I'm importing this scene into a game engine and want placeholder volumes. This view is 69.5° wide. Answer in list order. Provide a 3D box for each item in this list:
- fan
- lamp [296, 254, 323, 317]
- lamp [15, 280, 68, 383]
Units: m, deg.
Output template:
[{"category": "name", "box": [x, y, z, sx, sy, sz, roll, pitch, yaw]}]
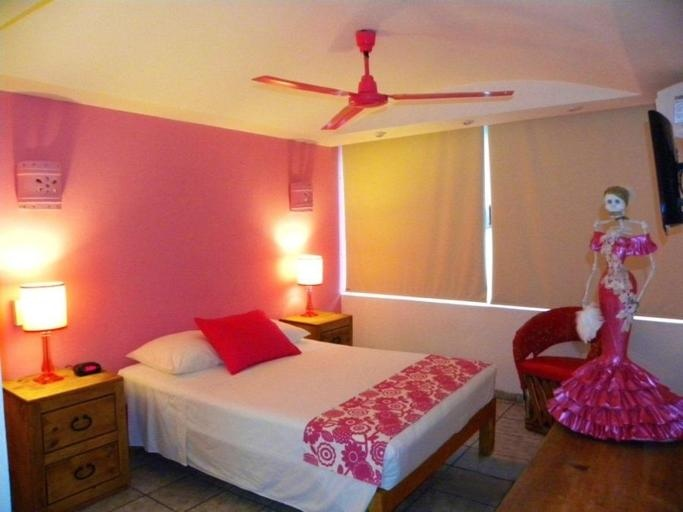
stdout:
[{"category": "fan", "box": [0.204, -1.153, 3.150, 1.494, 0.583, 0.640, -3, 11, -9]}, {"category": "lamp", "box": [-0.371, 0.312, 5.620, 0.298, 0.666, 0.436, -3, 11, -5]}, {"category": "lamp", "box": [-2.147, 0.540, 3.557, 0.315, 0.703, 0.390, -9, 13, -34]}]
